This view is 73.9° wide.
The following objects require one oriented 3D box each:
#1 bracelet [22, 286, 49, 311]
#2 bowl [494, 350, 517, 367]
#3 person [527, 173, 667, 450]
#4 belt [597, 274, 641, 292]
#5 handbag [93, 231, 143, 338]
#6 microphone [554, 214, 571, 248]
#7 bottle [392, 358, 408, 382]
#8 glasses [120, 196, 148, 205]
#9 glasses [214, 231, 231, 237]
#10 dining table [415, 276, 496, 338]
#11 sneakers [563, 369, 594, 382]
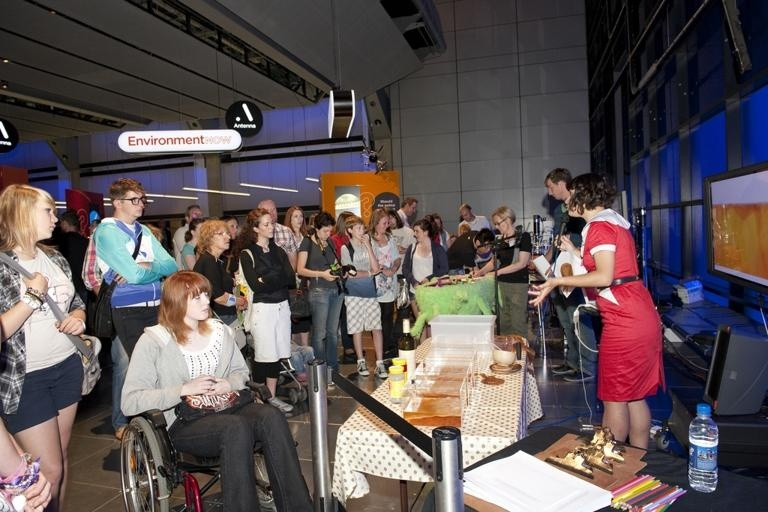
[{"bbox_3d":[-2.025,0.249,2.964,0.108,0.078,0.142,23,-4,-27],"label":"bracelet"},{"bbox_3d":[0.806,0.678,3.385,0.117,0.086,0.106,2,-6,-22],"label":"bowl"},{"bbox_3d":[1.528,0.495,3.778,0.909,2.172,0.838,-1,3,-5],"label":"person"},{"bbox_3d":[1.628,0.179,3.464,0.206,0.083,0.047,-2,3,-6],"label":"belt"},{"bbox_3d":[-2.298,0.239,4.253,0.187,0.787,0.433,11,5,12],"label":"handbag"},{"bbox_3d":[1.878,-0.265,5.361,0.072,0.094,0.498,-27,4,29],"label":"microphone"},{"bbox_3d":[0.094,0.701,3.116,0.093,0.157,0.095,-3,5,0],"label":"bottle"},{"bbox_3d":[-2.106,-0.462,4.252,0.147,0.049,0.149,-1,1,23],"label":"glasses"},{"bbox_3d":[-1.545,-0.204,4.917,0.062,0.074,0.167,0,3,27],"label":"glasses"},{"bbox_3d":[0.603,0.435,4.645,1.130,0.398,0.387,-4,4,-35],"label":"dining table"},{"bbox_3d":[2.153,1.344,5.617,0.371,0.163,0.153,1,-4,6],"label":"sneakers"}]
